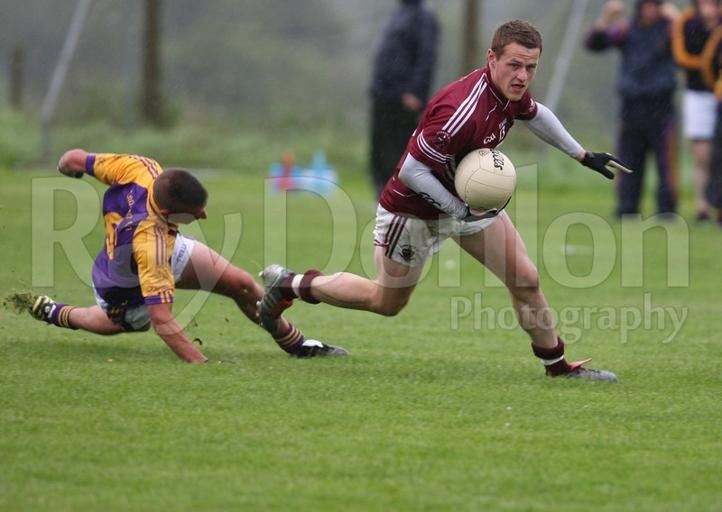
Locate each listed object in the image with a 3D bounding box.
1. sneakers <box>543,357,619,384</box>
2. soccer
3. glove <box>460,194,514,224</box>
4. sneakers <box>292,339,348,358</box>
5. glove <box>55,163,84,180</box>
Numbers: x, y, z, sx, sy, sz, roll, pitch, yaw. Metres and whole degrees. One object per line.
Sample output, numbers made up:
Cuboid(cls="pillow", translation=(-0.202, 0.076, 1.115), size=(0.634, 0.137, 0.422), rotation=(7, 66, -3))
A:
Cuboid(cls="sneakers", translation=(1.467, 0.769, 6.479), size=(0.528, 0.197, 0.173), rotation=(0, 2, 13))
Cuboid(cls="soccer", translation=(0.794, -0.482, 6.280), size=(0.384, 0.419, 0.402), rotation=(10, 5, 17))
Cuboid(cls="glove", translation=(0.802, -0.284, 6.176), size=(0.237, 0.132, 0.182), rotation=(-7, -10, 32))
Cuboid(cls="sneakers", translation=(-0.294, 0.671, 6.784), size=(0.401, 0.149, 0.133), rotation=(-4, 6, 1))
Cuboid(cls="glove", translation=(-2.036, -0.586, 6.709), size=(0.141, 0.053, 0.104), rotation=(10, -3, -4))
